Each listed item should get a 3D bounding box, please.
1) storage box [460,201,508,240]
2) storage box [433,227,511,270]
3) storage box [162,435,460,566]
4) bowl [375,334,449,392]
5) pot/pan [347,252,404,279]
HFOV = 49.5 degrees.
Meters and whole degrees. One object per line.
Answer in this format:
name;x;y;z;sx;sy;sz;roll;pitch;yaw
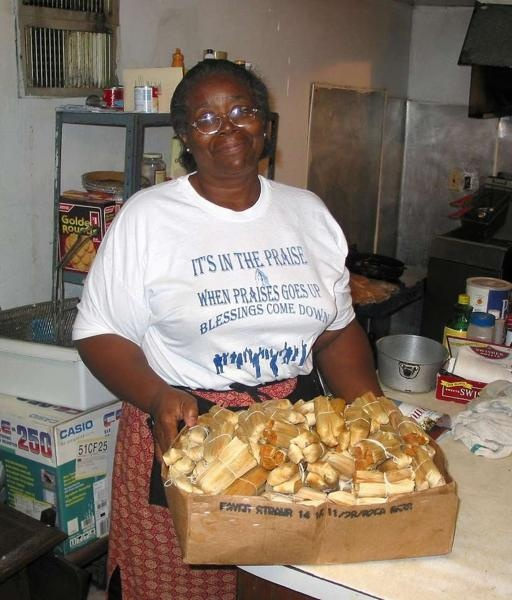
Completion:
storage box;1.265;-0.452;3.064;0.178;0.113;0.267;20;60;40
storage box;1.141;-0.260;2.981;0.307;0.098;0.233;20;38;38
storage box;0.087;0.245;0.696;0.221;0.057;0.203;0;8;-10
bowl;0.431;0.179;1.549;0.211;0.093;0.202;1;18;0
pot/pan;0.727;-0.212;3.423;0.259;0.087;0.203;17;10;31
